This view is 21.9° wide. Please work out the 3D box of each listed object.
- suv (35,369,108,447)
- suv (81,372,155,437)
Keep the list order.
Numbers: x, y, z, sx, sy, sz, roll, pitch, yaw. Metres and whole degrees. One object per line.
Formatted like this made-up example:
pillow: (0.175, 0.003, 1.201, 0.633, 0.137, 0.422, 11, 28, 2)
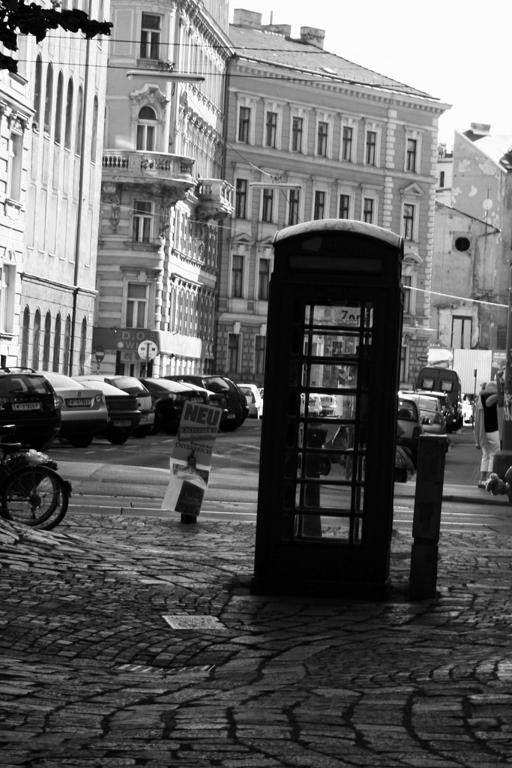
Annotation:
suv: (-3.905, 0.501, 28.315, 1.216, 1.816, 1.203, -3, 9, -25)
suv: (-3.064, 0.429, 33.598, 1.019, 0.981, 2.191, -2, 4, -39)
